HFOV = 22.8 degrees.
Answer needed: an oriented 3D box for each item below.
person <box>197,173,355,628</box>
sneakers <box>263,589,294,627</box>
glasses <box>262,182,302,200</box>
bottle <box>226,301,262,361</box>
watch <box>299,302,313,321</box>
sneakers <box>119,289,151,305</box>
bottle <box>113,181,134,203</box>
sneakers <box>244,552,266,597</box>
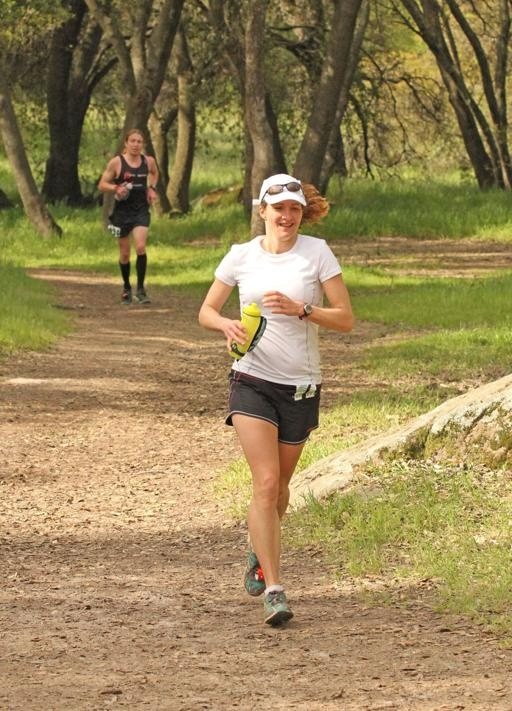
[{"bbox_3d":[0.160,0.209,6.125,0.737,2.090,0.958,-5,10,-12],"label":"person"},{"bbox_3d":[0.113,1.170,5.850,0.097,0.103,0.225,-1,1,-4],"label":"sneakers"},{"bbox_3d":[0.128,-0.769,6.028,0.171,0.063,0.066,-3,10,0],"label":"glasses"},{"bbox_3d":[-0.042,-0.092,6.039,0.193,0.295,0.208,-3,10,1],"label":"bottle"},{"bbox_3d":[0.235,-0.186,5.944,0.048,0.071,0.068,-2,2,-38],"label":"watch"},{"bbox_3d":[-1.467,-0.662,15.621,0.426,0.168,0.156,0,4,11],"label":"sneakers"},{"bbox_3d":[-1.468,-1.775,14.116,0.154,0.202,0.200,16,-8,-24],"label":"bottle"},{"bbox_3d":[-0.008,1.092,6.225,0.083,0.240,0.103,-3,3,-4],"label":"sneakers"}]
